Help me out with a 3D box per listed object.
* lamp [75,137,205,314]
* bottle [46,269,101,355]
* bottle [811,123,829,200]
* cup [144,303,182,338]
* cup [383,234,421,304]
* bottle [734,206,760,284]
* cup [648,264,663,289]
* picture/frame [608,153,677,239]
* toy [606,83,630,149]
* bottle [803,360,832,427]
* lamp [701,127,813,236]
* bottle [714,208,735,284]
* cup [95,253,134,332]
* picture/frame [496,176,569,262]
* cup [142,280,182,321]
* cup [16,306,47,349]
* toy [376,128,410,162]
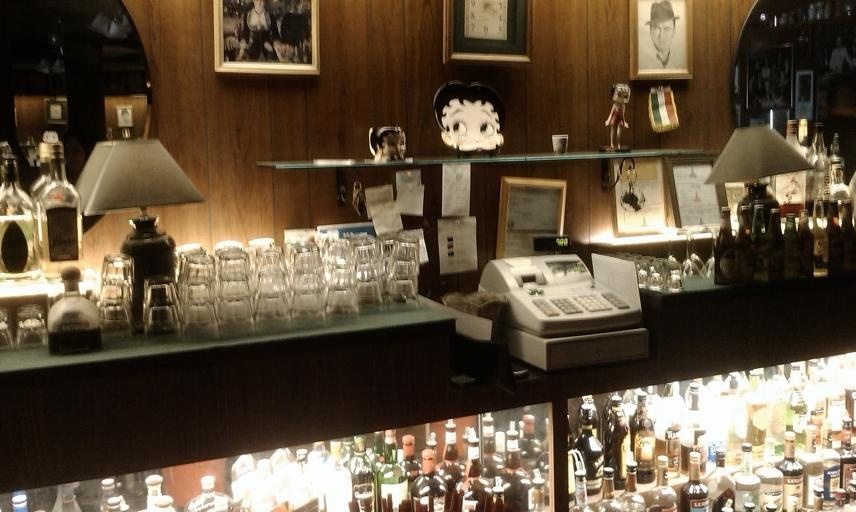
[{"bbox_3d":[-1.164,-0.130,3.128,0.547,0.859,0.581,0,0,-24],"label":"lamp"},{"bbox_3d":[-1.373,0.208,2.867,0.193,0.329,0.100,-7,6,-30],"label":"bottle"},{"bbox_3d":[2.098,-0.502,4.004,0.089,0.402,0.268,-2,6,27],"label":"bottle"},{"bbox_3d":[-1.062,0.254,2.981,0.122,0.130,0.127,-2,-3,0],"label":"cup"},{"bbox_3d":[-0.110,0.059,3.409,0.204,0.398,0.217,0,4,0],"label":"cup"},{"bbox_3d":[1.517,-0.053,3.567,0.088,0.348,0.177,-2,6,25],"label":"bottle"},{"bbox_3d":[1.058,0.101,3.484,0.087,0.161,0.089,-2,1,0],"label":"cup"},{"bbox_3d":[1.139,-0.327,4.010,0.362,0.456,0.059,-6,2,-16],"label":"picture/frame"},{"bbox_3d":[0.986,-0.719,3.874,0.138,0.346,0.313,-3,6,16],"label":"toy"},{"bbox_3d":[2.082,0.716,3.992,0.064,0.284,0.282,-2,-7,20],"label":"bottle"},{"bbox_3d":[1.579,-0.358,3.718,0.391,0.447,0.426,-9,1,-9],"label":"lamp"},{"bbox_3d":[1.395,-0.047,3.514,0.103,0.363,0.087,-3,5,15],"label":"bottle"},{"bbox_3d":[-1.257,0.152,2.985,0.140,0.307,0.081,-6,5,-22],"label":"cup"},{"bbox_3d":[0.517,-0.186,3.844,0.393,0.501,0.036,0,4,-23],"label":"picture/frame"},{"bbox_3d":[-1.064,0.181,2.961,0.127,0.185,0.149,-1,-1,-1],"label":"cup"},{"bbox_3d":[-1.568,0.274,2.926,0.104,0.150,0.076,-8,6,-31],"label":"cup"},{"bbox_3d":[-0.175,-0.522,3.595,0.149,0.176,0.136,3,0,3],"label":"toy"}]
